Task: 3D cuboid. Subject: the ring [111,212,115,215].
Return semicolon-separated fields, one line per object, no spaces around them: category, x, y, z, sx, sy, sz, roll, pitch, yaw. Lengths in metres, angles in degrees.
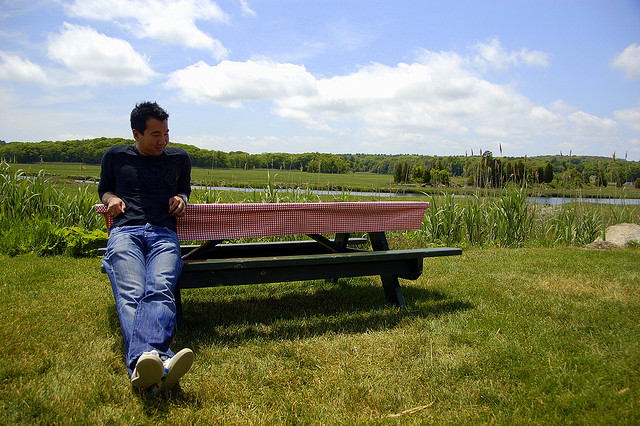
ring;-2.039;0.002;4.359;0.035;0.026;0.011;4;6;33

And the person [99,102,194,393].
person;-1.585;0.178;4.125;0.849;2.537;1.486;-2;5;-26
